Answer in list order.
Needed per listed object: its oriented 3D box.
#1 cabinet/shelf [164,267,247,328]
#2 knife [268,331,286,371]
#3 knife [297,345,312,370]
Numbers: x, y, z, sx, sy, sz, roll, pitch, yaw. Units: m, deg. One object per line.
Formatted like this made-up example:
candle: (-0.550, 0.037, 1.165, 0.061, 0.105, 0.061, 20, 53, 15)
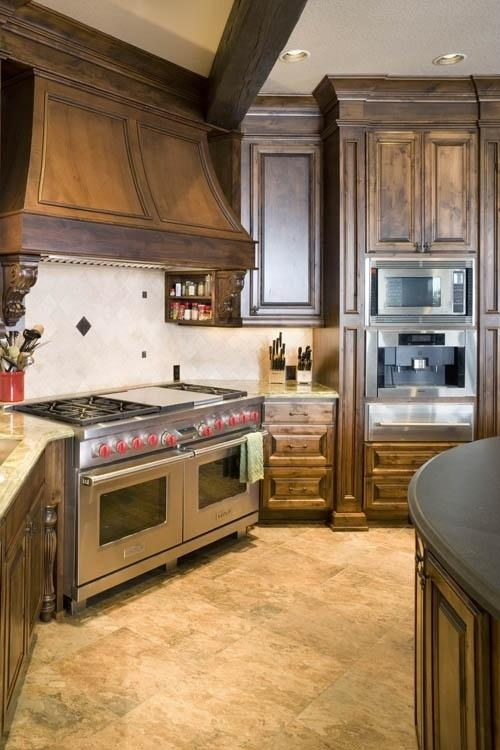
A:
cabinet/shelf: (-0.264, -0.489, 3.768, 0.670, 0.343, 0.236, 5, 5, 45)
knife: (0.194, -0.155, 4.146, 0.098, 0.262, 0.077, 0, 3, -13)
knife: (0.397, -0.121, 4.257, 0.101, 0.174, 0.202, 1, 3, 5)
